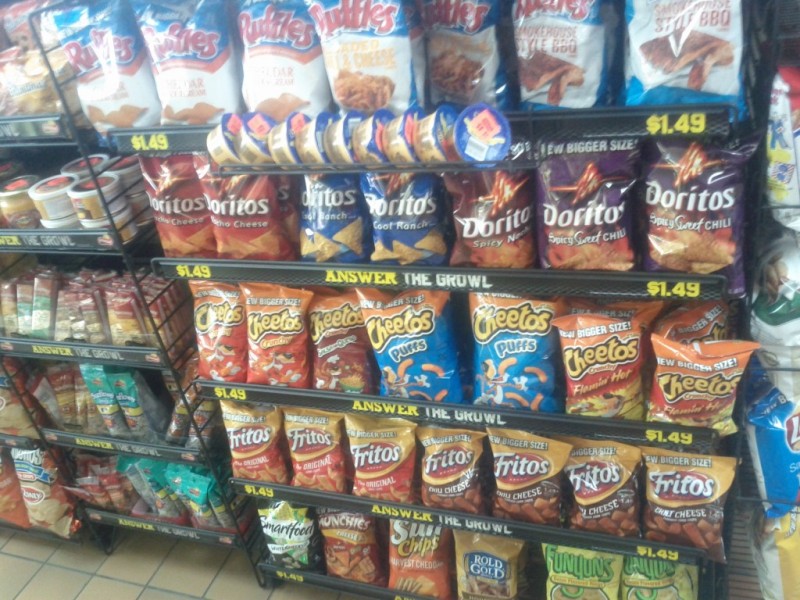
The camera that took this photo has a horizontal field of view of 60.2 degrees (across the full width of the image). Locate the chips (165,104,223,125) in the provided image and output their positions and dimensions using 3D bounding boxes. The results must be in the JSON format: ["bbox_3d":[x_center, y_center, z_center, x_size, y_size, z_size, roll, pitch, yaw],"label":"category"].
[{"bbox_3d":[-0.606,-0.540,2.016,0.101,0.029,0.092,-2,6,1],"label":"chips"}]

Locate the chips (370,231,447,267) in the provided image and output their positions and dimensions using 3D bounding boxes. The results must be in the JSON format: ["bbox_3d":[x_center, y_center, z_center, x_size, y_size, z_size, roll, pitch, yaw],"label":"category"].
[{"bbox_3d":[0.022,-0.147,2.024,0.219,0.096,0.040,-3,23,2],"label":"chips"}]
